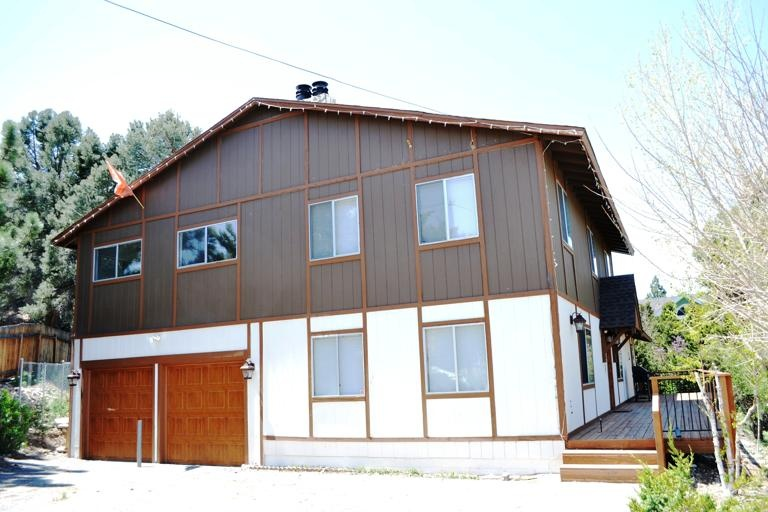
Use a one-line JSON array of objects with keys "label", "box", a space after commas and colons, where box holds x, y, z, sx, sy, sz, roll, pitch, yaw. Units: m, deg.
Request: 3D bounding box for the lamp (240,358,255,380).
[{"label": "lamp", "box": [-4.087, 3.413, 16.358, 0.433, 0.670, 0.307, -3, -4, 13]}]

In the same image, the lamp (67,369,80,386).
[{"label": "lamp", "box": [-10.714, 4.214, 18.804, 0.369, 0.579, 0.339, 0, -5, -42]}]

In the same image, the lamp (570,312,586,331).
[{"label": "lamp", "box": [5.544, 1.894, 15.480, 0.296, 0.603, 1.108, -4, -4, 27]}]
